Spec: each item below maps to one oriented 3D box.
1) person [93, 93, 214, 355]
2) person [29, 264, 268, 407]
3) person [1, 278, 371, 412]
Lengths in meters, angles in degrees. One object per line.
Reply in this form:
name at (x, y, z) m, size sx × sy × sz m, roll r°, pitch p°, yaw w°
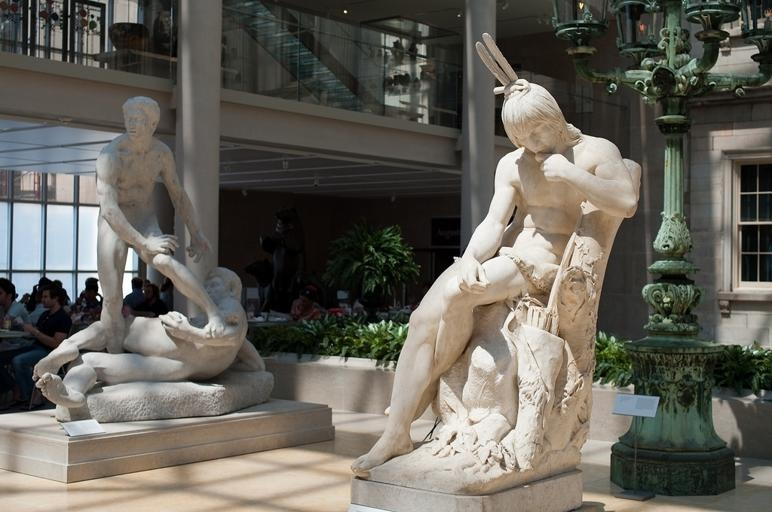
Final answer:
person at (-2.379, -0.316, 8.655) m, size 1.085 × 2.564 × 0.912 m, roll -2°, pitch 9°, yaw -18°
person at (-2.410, 0.821, 8.610) m, size 1.974 × 0.927 × 1.309 m, roll -1°, pitch 8°, yaw -26°
person at (-2.482, 0.849, 8.577) m, size 2.078 × 1.043 × 1.251 m, roll -1°, pitch 6°, yaw -21°
